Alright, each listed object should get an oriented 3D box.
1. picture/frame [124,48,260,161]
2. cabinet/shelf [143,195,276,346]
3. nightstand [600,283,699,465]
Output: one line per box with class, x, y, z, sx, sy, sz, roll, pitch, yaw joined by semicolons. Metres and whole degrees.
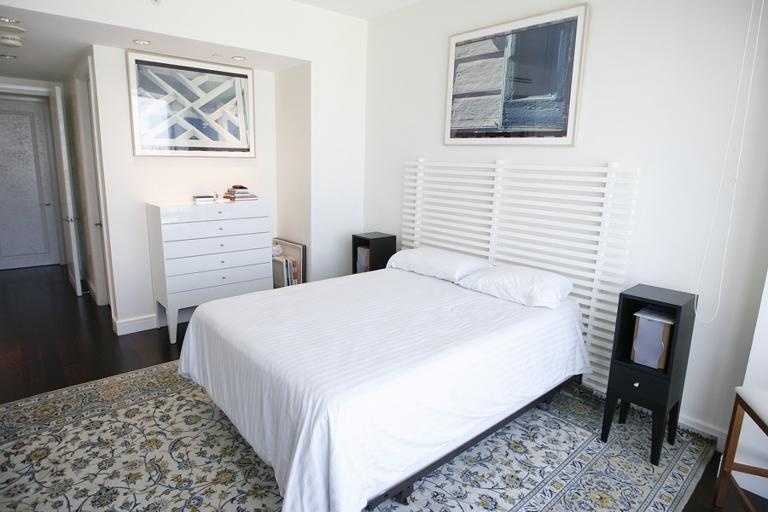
picture/frame;-2.155;-1.691;5.314;1.193;0.840;0.047;-9;15;-42
cabinet/shelf;-1.815;0.129;4.875;1.382;1.607;0.796;-9;15;-40
nightstand;2.085;0.958;3.853;0.434;1.183;0.472;-6;14;-38
